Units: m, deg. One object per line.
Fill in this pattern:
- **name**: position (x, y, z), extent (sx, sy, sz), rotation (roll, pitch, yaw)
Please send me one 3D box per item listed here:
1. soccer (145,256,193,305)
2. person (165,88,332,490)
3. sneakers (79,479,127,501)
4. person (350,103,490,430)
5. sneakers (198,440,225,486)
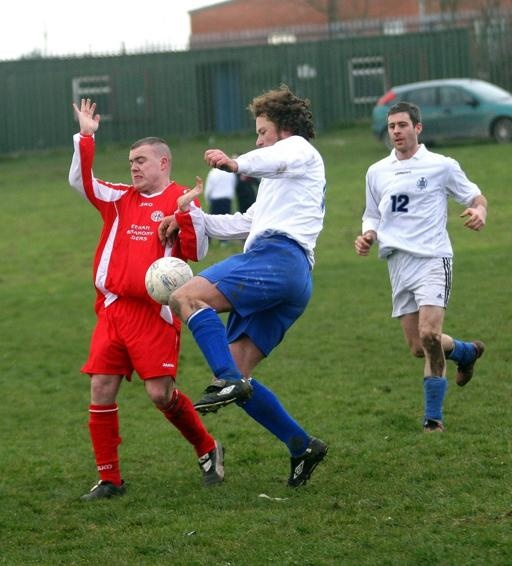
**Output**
- **soccer**: position (-0.601, -0.053, 8.093), extent (0.363, 0.306, 0.304), rotation (10, 54, 5)
- **person**: position (-0.019, 0.111, 8.147), extent (0.749, 2.694, 1.544), rotation (1, 15, 27)
- **sneakers**: position (-1.057, 1.445, 8.343), extent (0.331, 0.128, 0.111), rotation (0, -5, -17)
- **person**: position (1.262, -0.179, 9.179), extent (0.851, 2.342, 1.060), rotation (-11, 14, -20)
- **sneakers**: position (-0.289, 1.296, 8.588), extent (0.119, 0.323, 0.160), rotation (-19, -14, 32)
